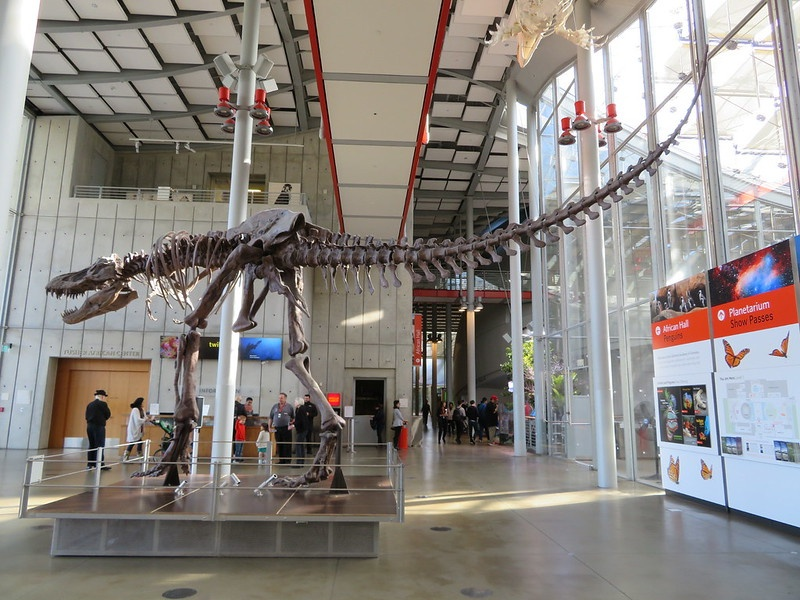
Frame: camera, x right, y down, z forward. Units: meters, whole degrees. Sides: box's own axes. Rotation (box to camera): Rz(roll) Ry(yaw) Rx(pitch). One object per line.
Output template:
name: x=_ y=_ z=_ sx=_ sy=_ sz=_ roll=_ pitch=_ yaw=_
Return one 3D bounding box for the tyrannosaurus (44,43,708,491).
tyrannosaurus: x=-0.851 y=0.082 z=6.594 sx=7.807 sy=3.775 sz=1.551 roll=-6 pitch=-16 yaw=6

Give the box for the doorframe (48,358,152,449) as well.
doorframe: x=-7.395 y=2.482 z=12.719 sx=2.320 sy=2.266 sz=0.231 roll=1 pitch=-12 yaw=-7
